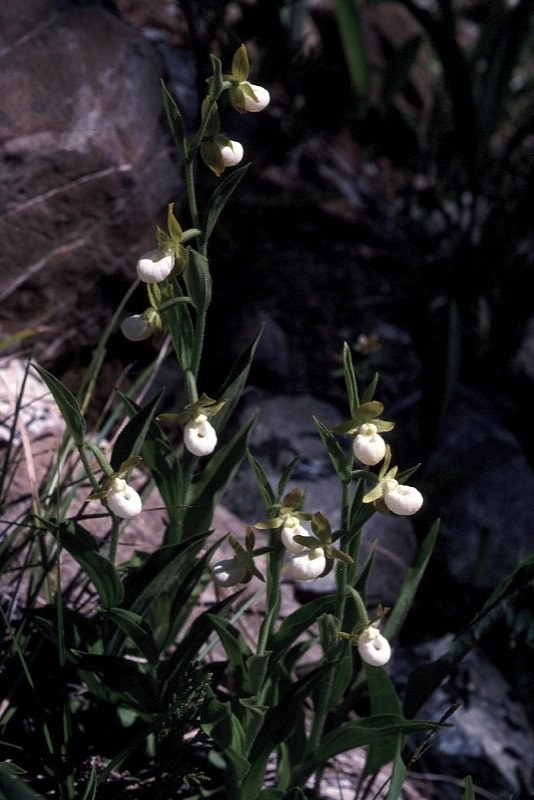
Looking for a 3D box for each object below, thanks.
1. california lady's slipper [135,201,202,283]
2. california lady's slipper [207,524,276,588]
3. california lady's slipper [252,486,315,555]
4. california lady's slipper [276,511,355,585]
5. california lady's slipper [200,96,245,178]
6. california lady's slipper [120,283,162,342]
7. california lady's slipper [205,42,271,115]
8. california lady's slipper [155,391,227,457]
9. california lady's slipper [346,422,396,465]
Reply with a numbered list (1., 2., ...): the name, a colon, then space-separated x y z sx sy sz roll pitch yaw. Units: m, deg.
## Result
1. california lady's slipper: -0.142 -0.223 1.069 0.081 0.135 0.050 -2 48 -21
2. california lady's slipper: -0.027 0.230 1.097 0.027 0.071 0.063 -6 51 21
3. california lady's slipper: 0.016 0.173 1.075 0.095 0.089 0.049 -15 -4 -14
4. california lady's slipper: 0.063 0.213 1.056 0.105 0.053 0.094 28 53 -38
5. california lady's slipper: -0.073 -0.388 1.127 0.036 0.041 0.076 28 42 -12
6. california lady's slipper: -0.180 -0.128 1.123 0.058 0.091 0.042 23 -1 -26
7. california lady's slipper: -0.056 -0.487 1.124 0.117 0.094 0.054 13 10 -13
8. california lady's slipper: -0.114 0.034 1.130 0.106 0.090 0.047 -11 6 -10
9. california lady's slipper: 0.140 0.058 1.005 0.049 0.054 0.031 -7 5 -36
